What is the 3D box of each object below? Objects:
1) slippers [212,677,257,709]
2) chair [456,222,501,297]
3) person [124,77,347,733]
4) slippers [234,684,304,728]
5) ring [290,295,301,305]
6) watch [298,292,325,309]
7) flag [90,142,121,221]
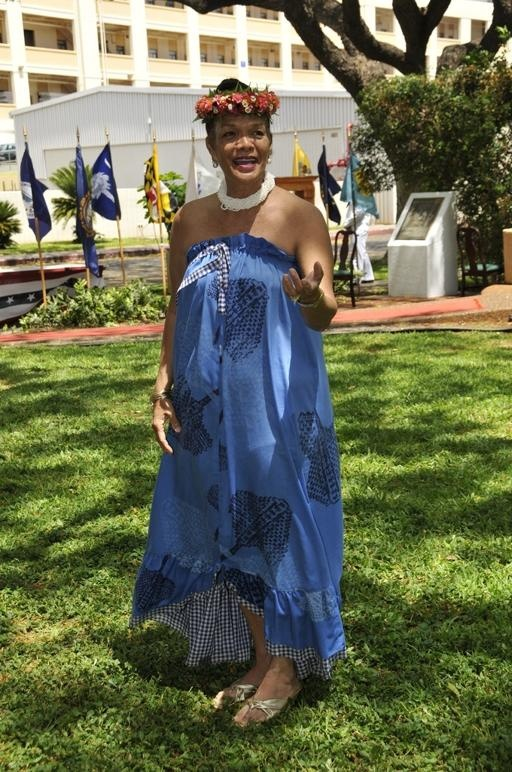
[{"bbox_3d":[-0.069,1.003,1.988,0.132,0.035,0.060,-18,22,-23],"label":"slippers"},{"bbox_3d":[4.262,-2.412,11.737,0.786,1.297,0.764,-16,18,-30],"label":"chair"},{"bbox_3d":[-0.007,0.031,1.830,0.407,1.839,0.807,-9,10,-44],"label":"person"},{"bbox_3d":[0.018,0.981,1.872,0.157,0.035,0.066,-18,16,-32],"label":"slippers"},{"bbox_3d":[0.096,-0.208,1.490,0.018,0.023,0.023,10,12,21],"label":"ring"},{"bbox_3d":[0.133,-0.212,1.508,0.066,0.039,0.072,-1,7,4],"label":"watch"},{"bbox_3d":[-2.808,-3.797,11.424,0.505,1.528,1.163,-3,7,-14],"label":"flag"}]
